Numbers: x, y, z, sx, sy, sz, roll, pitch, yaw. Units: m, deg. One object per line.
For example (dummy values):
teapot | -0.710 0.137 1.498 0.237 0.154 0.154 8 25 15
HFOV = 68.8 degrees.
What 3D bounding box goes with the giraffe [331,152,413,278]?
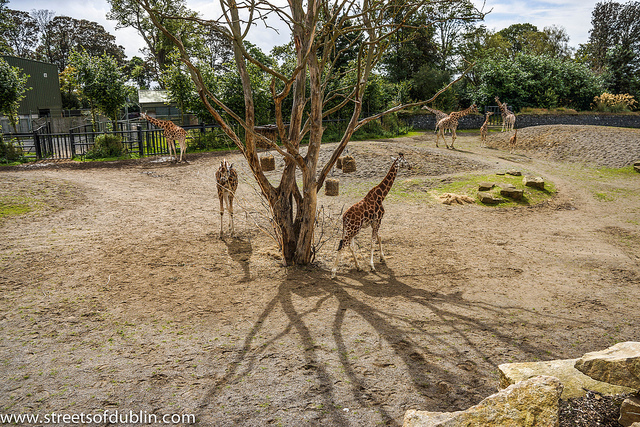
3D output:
giraffe | 1.036 -0.021 10.760 1.047 2.616 2.149 8 15 33
